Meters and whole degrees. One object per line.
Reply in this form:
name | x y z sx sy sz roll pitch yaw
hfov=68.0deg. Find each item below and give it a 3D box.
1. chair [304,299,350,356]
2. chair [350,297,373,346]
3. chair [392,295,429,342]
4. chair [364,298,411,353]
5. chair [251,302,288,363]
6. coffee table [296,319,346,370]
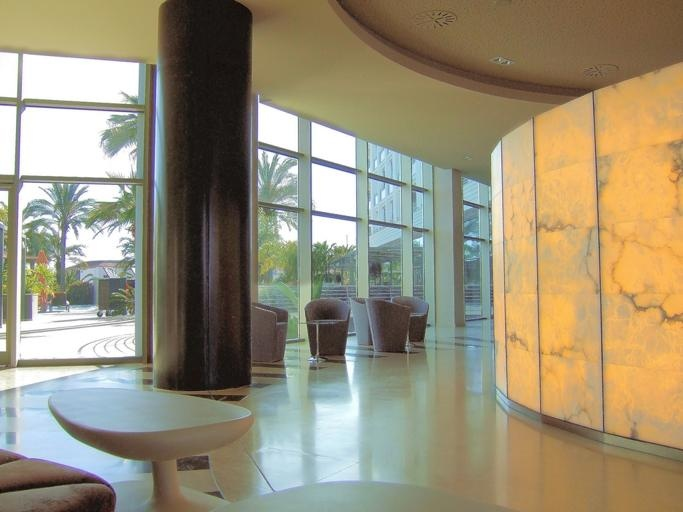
chair | -0.224 1.199 8.815 0.766 0.882 0.815 0 -4 7
chair | 0.357 1.285 9.945 0.753 0.805 0.637 -1 -1 -5
chair | 1.365 1.266 10.360 0.726 0.801 0.744 1 5 10
chair | 0.787 1.239 9.211 0.821 0.929 0.807 -4 -10 2
chair | -1.161 1.223 7.805 0.782 0.943 0.748 -1 -5 7
coffee table | -0.417 1.365 8.176 0.787 0.586 0.736 -2 -5 18
